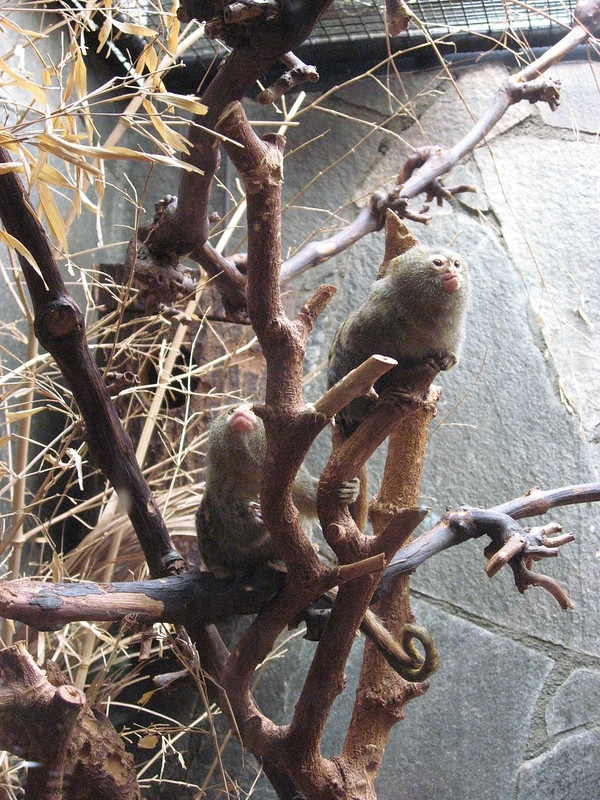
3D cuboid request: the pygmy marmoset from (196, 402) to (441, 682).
[{"bbox_3d":[0.011,0.191,2.175,0.301,0.689,0.250,-3,23,35],"label":"pygmy marmoset"}]
